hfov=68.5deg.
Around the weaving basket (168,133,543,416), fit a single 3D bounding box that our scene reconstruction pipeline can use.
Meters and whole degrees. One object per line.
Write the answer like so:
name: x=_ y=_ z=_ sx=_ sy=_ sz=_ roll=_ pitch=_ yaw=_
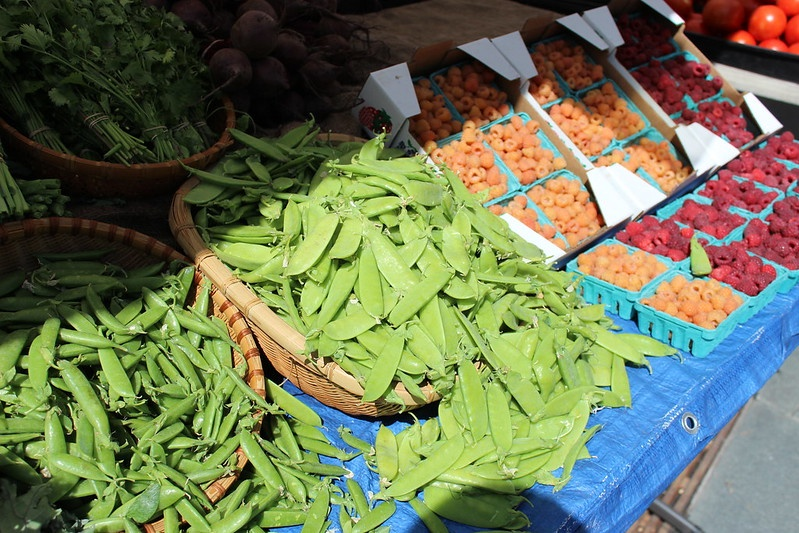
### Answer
weaving basket: x=-0.734 y=0.171 z=3.549 sx=1.547 sy=0.380 sz=1.126 roll=44 pitch=50 yaw=12
